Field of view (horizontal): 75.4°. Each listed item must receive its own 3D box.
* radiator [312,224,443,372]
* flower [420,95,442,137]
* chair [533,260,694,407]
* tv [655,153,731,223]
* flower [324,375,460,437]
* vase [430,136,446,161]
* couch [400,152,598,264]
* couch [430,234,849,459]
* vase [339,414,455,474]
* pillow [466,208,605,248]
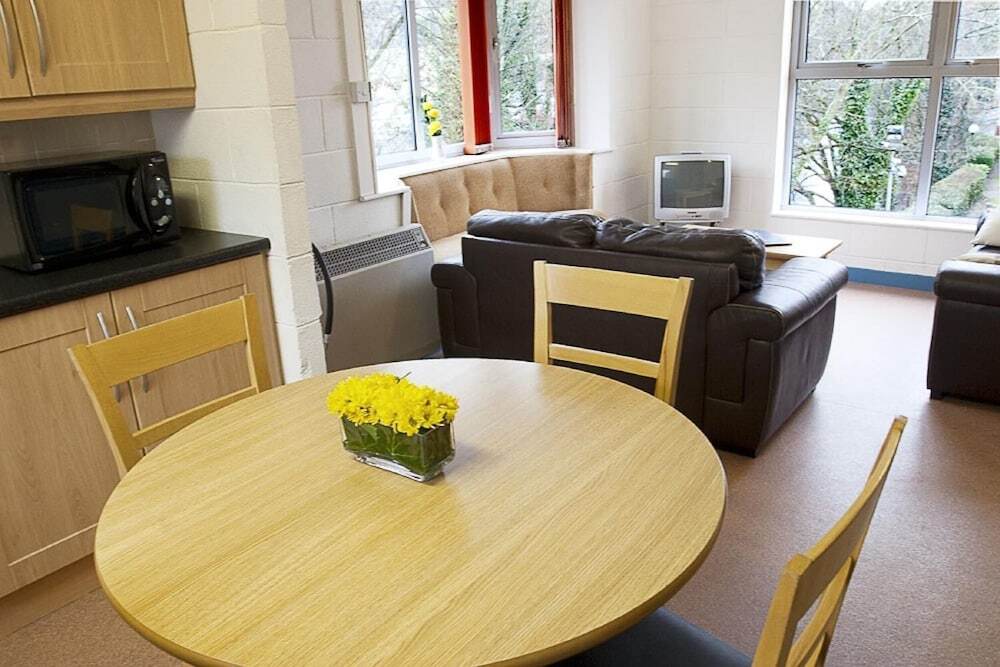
[{"bbox_3d":[-0.801,-0.249,4.114,0.836,0.719,0.275,-23,39,-36],"label":"radiator"},{"bbox_3d":[-0.563,-1.807,5.409,0.171,0.321,0.469,-3,23,-4],"label":"flower"},{"bbox_3d":[0.350,0.028,2.302,0.461,0.400,0.640,9,18,0],"label":"chair"},{"bbox_3d":[1.801,-1.274,5.734,0.734,0.603,0.427,11,24,41],"label":"tv"},{"bbox_3d":[-0.271,0.164,1.619,0.246,0.072,0.172,7,15,23],"label":"flower"},{"bbox_3d":[-0.511,-1.525,5.327,0.082,0.187,0.061,-4,24,-5],"label":"vase"},{"bbox_3d":[0.005,-0.896,5.180,0.776,0.894,2.239,12,24,30],"label":"couch"},{"bbox_3d":[0.669,0.045,2.818,1.147,0.543,0.626,9,24,31],"label":"couch"},{"bbox_3d":[-0.272,0.269,1.670,0.234,0.141,0.128,6,23,34],"label":"vase"},{"bbox_3d":[0.213,-0.606,3.636,0.579,0.155,0.332,6,19,26],"label":"pillow"}]
